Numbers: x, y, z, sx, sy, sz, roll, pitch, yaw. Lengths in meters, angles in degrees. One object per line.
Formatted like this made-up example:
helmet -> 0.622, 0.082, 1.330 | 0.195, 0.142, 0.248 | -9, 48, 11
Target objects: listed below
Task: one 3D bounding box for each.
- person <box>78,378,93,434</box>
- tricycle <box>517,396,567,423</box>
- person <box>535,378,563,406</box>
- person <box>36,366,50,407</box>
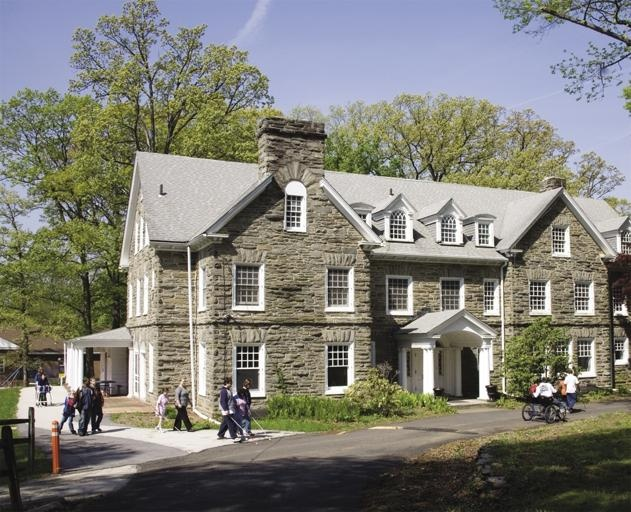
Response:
person -> -9.601, 6.323, 34.900 | 0.653, 2.005, 1.263 | -3, 2, -16
tricycle -> 10.045, 6.600, 36.365 | 1.716, 0.915, 0.974 | 8, -8, -44
person -> 10.113, 6.098, 36.502 | 0.753, 0.859, 1.186 | -2, -22, 16
person -> -14.857, 7.011, 45.588 | 0.708, 2.020, 0.619 | -6, 8, -14
